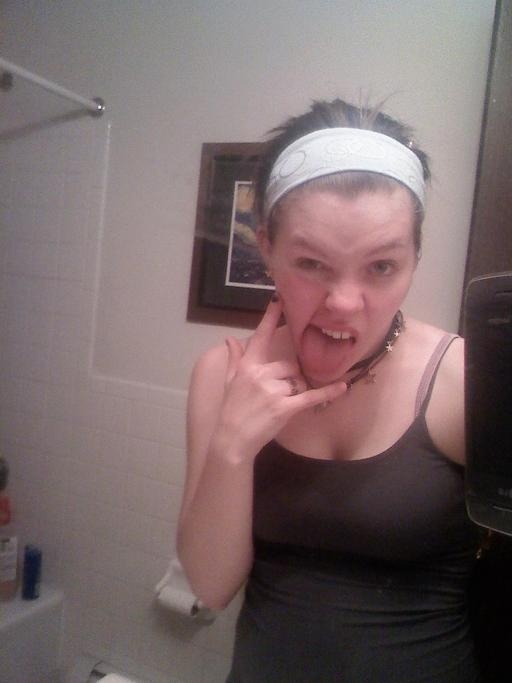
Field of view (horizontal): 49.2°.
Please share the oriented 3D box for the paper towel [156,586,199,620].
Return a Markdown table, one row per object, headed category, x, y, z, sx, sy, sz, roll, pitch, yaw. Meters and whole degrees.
| category | x | y | z | sx | sy | sz | roll | pitch | yaw |
| --- | --- | --- | --- | --- | --- | --- | --- | --- | --- |
| paper towel | -0.150 | 0.501 | 1.100 | 0.086 | 0.047 | 0.034 | 15 | 22 | 19 |
